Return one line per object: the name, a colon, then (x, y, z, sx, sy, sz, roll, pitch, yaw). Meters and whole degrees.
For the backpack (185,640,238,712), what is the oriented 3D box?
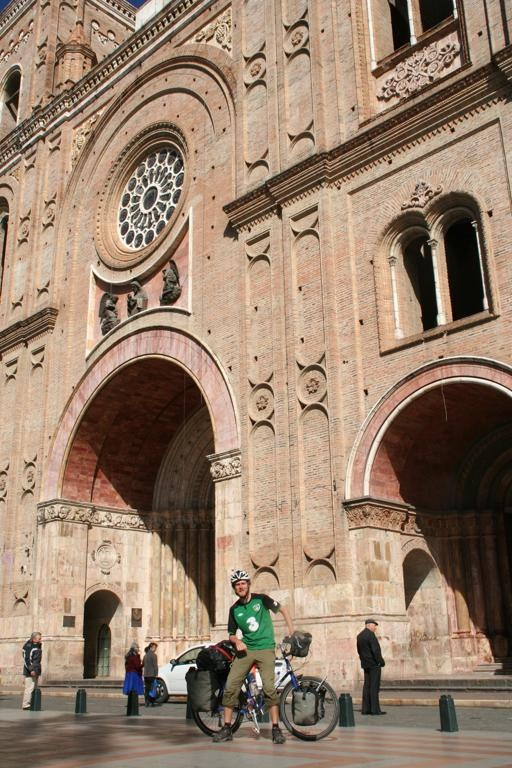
backpack: (-0.572, 2.780, 6.915, 0.671, 0.631, 0.429, 17, -31, -39)

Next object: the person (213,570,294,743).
person: (-0.073, 2.418, 6.581, 0.639, 1.405, 0.535, -2, -22, -3)

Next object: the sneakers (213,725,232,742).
sneakers: (-0.305, 3.062, 6.440, 0.167, 0.111, 0.096, 4, -26, -30)

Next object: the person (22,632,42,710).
person: (-4.063, 5.190, 13.380, 0.273, 1.282, 0.801, 4, -22, -17)

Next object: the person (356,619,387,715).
person: (1.553, 3.883, 10.191, 0.360, 1.225, 0.647, -6, -22, 6)
